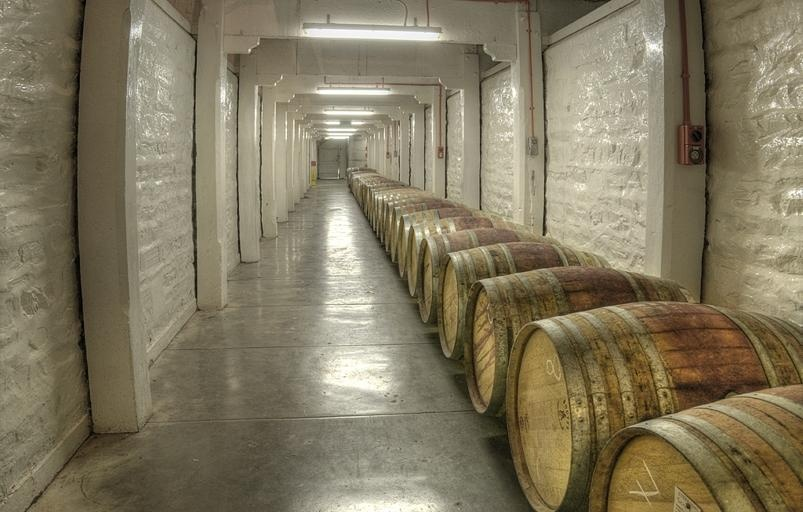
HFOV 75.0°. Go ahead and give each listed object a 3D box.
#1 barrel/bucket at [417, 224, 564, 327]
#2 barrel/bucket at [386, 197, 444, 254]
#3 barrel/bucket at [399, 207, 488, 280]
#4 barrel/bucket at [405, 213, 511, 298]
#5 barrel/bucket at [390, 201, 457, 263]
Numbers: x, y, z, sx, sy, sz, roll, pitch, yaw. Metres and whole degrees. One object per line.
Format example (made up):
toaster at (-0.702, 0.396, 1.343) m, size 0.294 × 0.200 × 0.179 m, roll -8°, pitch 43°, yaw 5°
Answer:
barrel/bucket at (0.784, 0.004, 5.857) m, size 1.737 × 1.201 × 1.262 m, roll -4°, pitch 19°, yaw -24°
barrel/bucket at (0.232, -0.633, 9.065) m, size 1.409 × 0.973 × 1.092 m, roll -6°, pitch 9°, yaw -26°
barrel/bucket at (0.607, -0.315, 7.182) m, size 1.324 × 0.913 × 1.023 m, roll -1°, pitch 13°, yaw -15°
barrel/bucket at (0.645, -0.005, 6.971) m, size 0.873 × 1.239 × 0.937 m, roll -9°, pitch -8°, yaw -1°
barrel/bucket at (0.337, -0.348, 7.231) m, size 0.993 × 0.690 × 0.749 m, roll -2°, pitch 13°, yaw -21°
